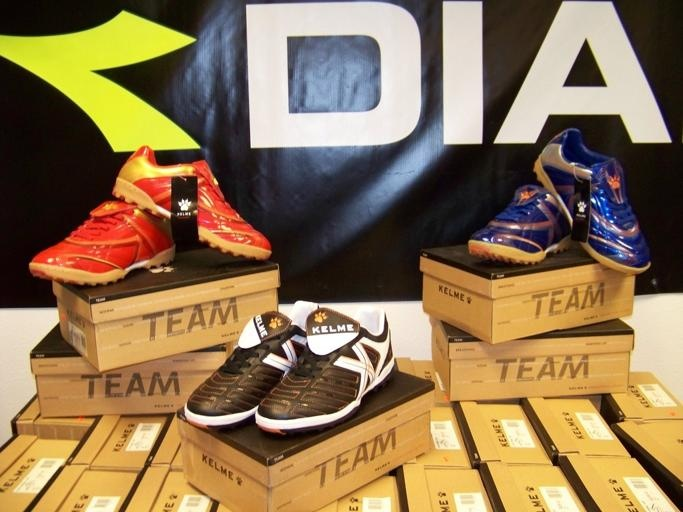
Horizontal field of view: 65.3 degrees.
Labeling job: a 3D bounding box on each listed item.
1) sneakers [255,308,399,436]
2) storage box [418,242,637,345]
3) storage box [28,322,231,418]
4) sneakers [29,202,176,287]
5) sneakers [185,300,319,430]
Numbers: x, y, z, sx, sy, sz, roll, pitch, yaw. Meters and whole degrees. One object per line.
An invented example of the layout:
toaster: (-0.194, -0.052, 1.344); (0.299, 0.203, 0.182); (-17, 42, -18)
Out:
sneakers: (-0.016, 0.289, 1.456); (0.195, 0.285, 0.546); (-2, 6, 34)
storage box: (0.642, 0.107, 1.751); (0.707, 0.239, 0.325); (-3, 25, -5)
storage box: (-0.693, 0.400, 1.643); (0.380, 0.146, 0.290); (0, 7, -9)
sneakers: (-0.713, -0.060, 1.685); (0.445, 0.229, 0.204); (-6, 16, -42)
sneakers: (-0.231, 0.274, 1.486); (0.165, 0.226, 0.516); (13, 20, 25)
